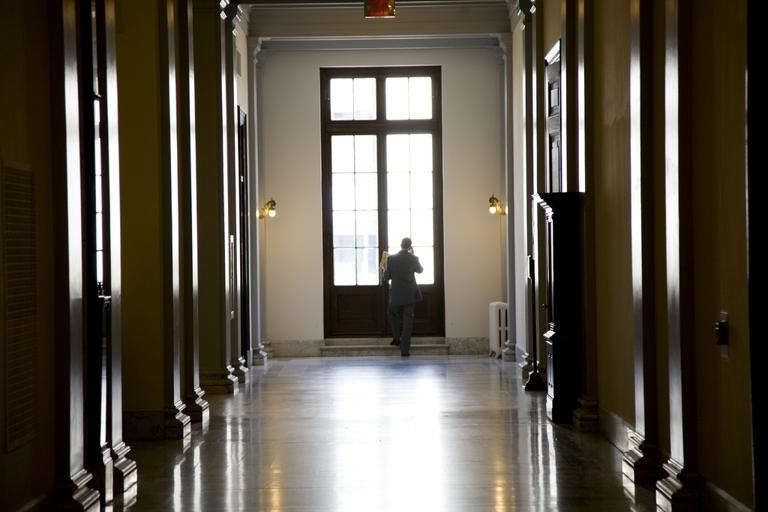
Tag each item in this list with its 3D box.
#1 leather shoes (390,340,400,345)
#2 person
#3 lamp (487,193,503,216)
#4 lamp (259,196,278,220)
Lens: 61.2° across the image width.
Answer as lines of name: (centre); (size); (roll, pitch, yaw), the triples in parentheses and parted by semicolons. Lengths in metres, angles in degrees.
leather shoes: (0.171, 1.507, 11.399); (0.147, 0.120, 0.070); (4, 3, 14)
person: (0.311, 0.709, 11.259); (0.654, 2.044, 0.382); (0, 2, 5)
lamp: (1.964, -0.913, 11.417); (0.296, 0.376, 0.439); (0, 3, 10)
lamp: (-2.045, -0.828, 11.368); (0.254, 0.366, 0.582); (-1, 3, -4)
